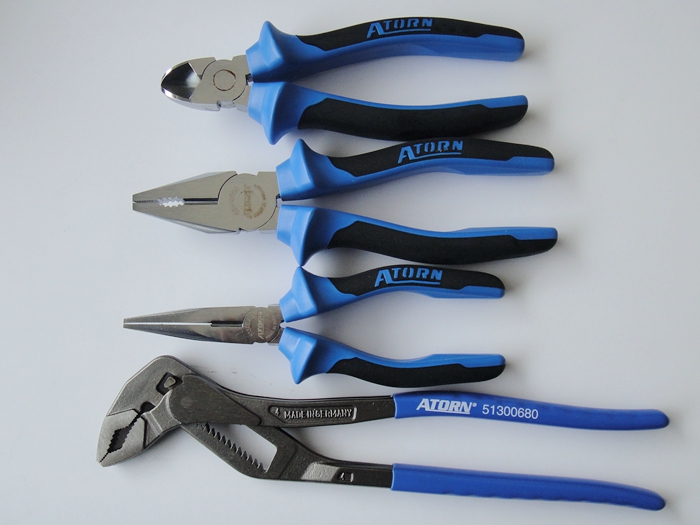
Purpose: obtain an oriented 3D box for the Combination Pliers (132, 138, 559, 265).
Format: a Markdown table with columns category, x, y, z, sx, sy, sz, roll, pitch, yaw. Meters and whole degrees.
| category | x | y | z | sx | sy | sz | roll | pitch | yaw |
| --- | --- | --- | --- | --- | --- | --- | --- | --- | --- |
| Combination Pliers | -0.013 | -0.178 | 2.357 | 1.210 | 0.313 | 0.257 | 2 | -39 | 3 |
